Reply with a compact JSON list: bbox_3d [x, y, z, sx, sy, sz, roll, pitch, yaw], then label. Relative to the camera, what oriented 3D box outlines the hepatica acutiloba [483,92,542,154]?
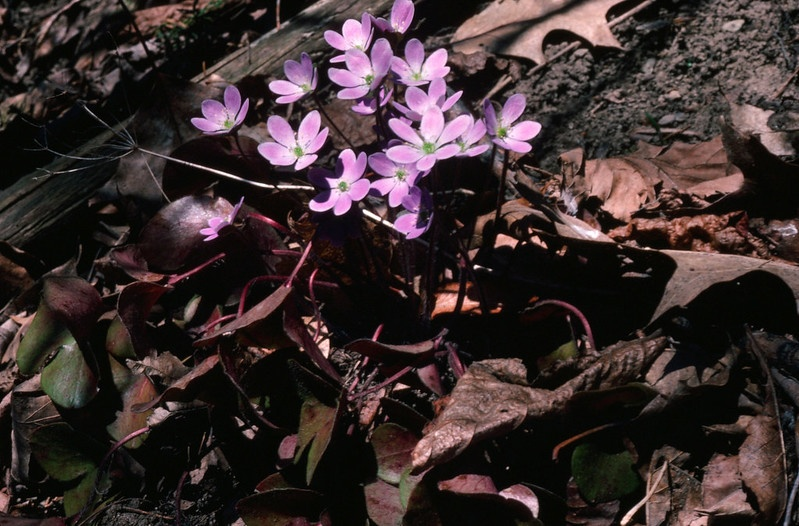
[{"bbox_3d":[0.393,-0.520,2.470,0.217,0.207,0.216,3,12,-7],"label":"hepatica acutiloba"}]

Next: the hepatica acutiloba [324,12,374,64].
[{"bbox_3d":[-0.171,-0.866,2.551,0.201,0.198,0.100,6,-4,36],"label":"hepatica acutiloba"}]

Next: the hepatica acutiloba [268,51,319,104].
[{"bbox_3d":[-0.434,-0.714,2.595,0.144,0.187,0.223,-5,15,-39],"label":"hepatica acutiloba"}]

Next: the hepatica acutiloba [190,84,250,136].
[{"bbox_3d":[-0.673,-0.597,2.637,0.222,0.189,0.194,7,12,12],"label":"hepatica acutiloba"}]

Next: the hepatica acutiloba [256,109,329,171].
[{"bbox_3d":[-0.397,-0.462,2.518,0.247,0.220,0.140,12,14,33],"label":"hepatica acutiloba"}]

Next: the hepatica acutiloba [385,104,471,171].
[{"bbox_3d":[0.101,-0.444,2.408,0.302,0.236,0.127,5,12,2],"label":"hepatica acutiloba"}]

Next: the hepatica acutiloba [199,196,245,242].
[{"bbox_3d":[-0.687,-0.169,2.720,0.182,0.060,0.182,-22,27,40],"label":"hepatica acutiloba"}]

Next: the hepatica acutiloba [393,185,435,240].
[{"bbox_3d":[0.068,-0.170,2.467,0.176,0.177,0.084,31,11,34],"label":"hepatica acutiloba"}]
